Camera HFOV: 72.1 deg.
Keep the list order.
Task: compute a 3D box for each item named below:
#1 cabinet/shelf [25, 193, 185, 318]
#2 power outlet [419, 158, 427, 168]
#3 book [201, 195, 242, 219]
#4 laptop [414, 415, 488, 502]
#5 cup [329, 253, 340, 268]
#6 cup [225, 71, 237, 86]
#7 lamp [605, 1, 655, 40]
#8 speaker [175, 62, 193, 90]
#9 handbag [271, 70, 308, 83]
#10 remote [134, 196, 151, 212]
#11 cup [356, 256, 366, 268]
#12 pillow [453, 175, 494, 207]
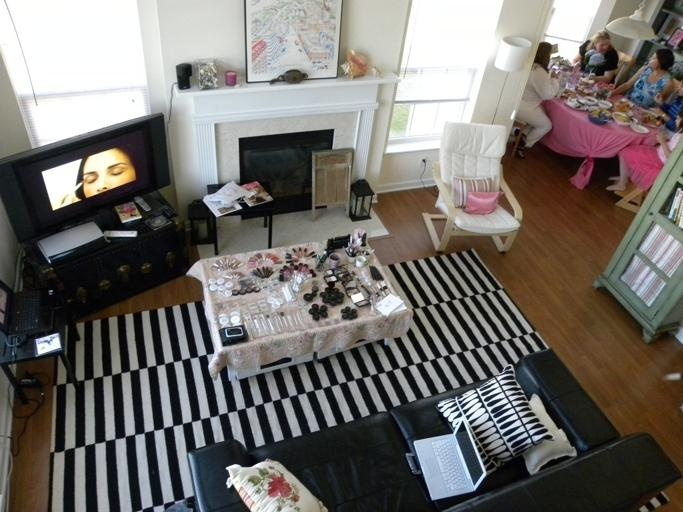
[{"bbox_3d":[-2.255,-0.211,4.524,1.378,0.724,1.018,-31,39,-18],"label":"cabinet/shelf"},{"bbox_3d":[1.028,-1.179,5.883,0.082,0.089,0.156,7,3,12],"label":"power outlet"},{"bbox_3d":[-1.201,-0.511,4.669,0.408,0.084,0.256,19,46,15],"label":"book"},{"bbox_3d":[0.724,1.395,3.209,0.445,0.376,0.549,-10,54,-8],"label":"laptop"},{"bbox_3d":[-0.071,0.026,4.320,0.101,0.114,0.107,1,57,-2],"label":"cup"},{"bbox_3d":[-1.027,-1.663,4.368,0.116,0.114,0.137,-7,44,-11],"label":"cup"},{"bbox_3d":[3.490,-2.810,5.534,0.492,0.372,0.484,-32,54,-32],"label":"lamp"},{"bbox_3d":[-1.411,-1.629,4.222,0.157,0.214,0.148,-10,44,-15],"label":"speaker"},{"bbox_3d":[-0.518,-1.724,4.482,0.241,0.098,0.067,-9,76,-7],"label":"handbag"},{"bbox_3d":[-1.905,-0.502,4.480,0.072,0.082,0.130,-34,87,-14],"label":"remote"},{"bbox_3d":[0.169,0.042,4.352,0.097,0.071,0.077,-9,78,-4],"label":"cup"},{"bbox_3d":[1.439,-0.717,5.187,0.342,0.242,0.108,-5,12,-12],"label":"pillow"}]
